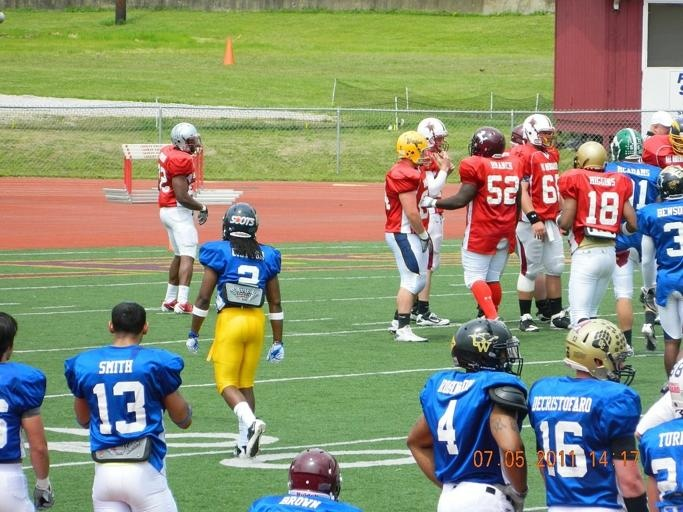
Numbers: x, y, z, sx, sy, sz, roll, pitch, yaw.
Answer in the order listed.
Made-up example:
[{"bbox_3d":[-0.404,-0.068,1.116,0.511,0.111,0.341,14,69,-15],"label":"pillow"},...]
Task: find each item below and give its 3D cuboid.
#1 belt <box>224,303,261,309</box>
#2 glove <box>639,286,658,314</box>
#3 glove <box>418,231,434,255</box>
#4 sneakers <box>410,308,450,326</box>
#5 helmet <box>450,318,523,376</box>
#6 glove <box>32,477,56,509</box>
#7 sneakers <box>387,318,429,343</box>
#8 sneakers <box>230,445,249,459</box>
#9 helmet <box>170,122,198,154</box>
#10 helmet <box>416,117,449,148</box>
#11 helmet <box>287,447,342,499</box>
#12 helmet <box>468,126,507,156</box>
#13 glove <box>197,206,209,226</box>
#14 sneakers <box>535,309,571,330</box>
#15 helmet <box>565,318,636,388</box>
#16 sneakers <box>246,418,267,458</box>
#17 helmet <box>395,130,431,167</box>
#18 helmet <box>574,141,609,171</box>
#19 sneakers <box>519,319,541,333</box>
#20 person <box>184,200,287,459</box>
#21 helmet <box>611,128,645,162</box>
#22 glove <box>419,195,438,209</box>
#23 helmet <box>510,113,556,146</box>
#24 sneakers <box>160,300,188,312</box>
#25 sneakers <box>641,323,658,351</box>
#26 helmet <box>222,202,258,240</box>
[{"bbox_3d":[-0.836,0.401,8.843,0.245,0.034,0.059,3,-5,-9],"label":"belt"},{"bbox_3d":[3.289,0.462,11.490,0.197,0.247,0.583,0,-1,5],"label":"glove"},{"bbox_3d":[0.939,-0.155,12.110,0.103,0.308,0.110,-15,-1,-11],"label":"glove"},{"bbox_3d":[1.048,0.738,13.064,0.439,0.202,0.164,1,1,0],"label":"sneakers"},{"bbox_3d":[0.900,0.568,6.792,0.391,0.311,0.303,2,2,-3],"label":"helmet"},{"bbox_3d":[-1.969,1.549,7.184,0.128,0.213,0.088,4,5,-5],"label":"glove"},{"bbox_3d":[0.696,0.831,12.167,0.507,0.251,0.182,4,5,-7],"label":"sneakers"},{"bbox_3d":[-0.829,1.579,8.793,0.116,0.117,0.086,-18,26,-20],"label":"sneakers"},{"bbox_3d":[-1.938,-1.492,13.627,0.388,0.342,0.286,10,24,10],"label":"helmet"},{"bbox_3d":[1.065,-1.438,12.689,0.396,0.401,0.324,-1,9,6],"label":"helmet"},{"bbox_3d":[-0.151,1.218,6.128,0.216,0.247,0.300,9,-6,8],"label":"helmet"},{"bbox_3d":[1.580,-1.257,11.890,0.379,0.298,0.286,10,15,43],"label":"helmet"},{"bbox_3d":[-1.820,-0.528,13.953,0.147,0.197,0.437,-3,8,5],"label":"glove"},{"bbox_3d":[2.480,0.740,12.804,0.373,0.164,0.126,2,9,26],"label":"sneakers"},{"bbox_3d":[1.603,0.604,6.826,0.432,0.375,0.340,3,5,-15],"label":"helmet"},{"bbox_3d":[-0.692,1.429,8.680,0.144,0.341,0.122,25,29,20],"label":"sneakers"},{"bbox_3d":[0.760,-1.236,12.216,0.369,0.324,0.297,-2,20,-13],"label":"helmet"},{"bbox_3d":[2.471,-0.997,10.899,0.253,0.301,0.321,5,16,1],"label":"helmet"},{"bbox_3d":[2.170,0.801,12.555,0.110,0.113,0.267,1,-4,-19],"label":"sneakers"},{"bbox_3d":[-0.833,0.583,8.970,0.603,1.975,1.112,-4,11,-19],"label":"person"},{"bbox_3d":[3.032,-1.172,11.521,0.336,0.341,0.338,-1,10,-3],"label":"helmet"},{"bbox_3d":[0.943,-0.593,11.978,0.164,0.072,0.157,2,-6,-5],"label":"glove"},{"bbox_3d":[2.246,-1.475,12.795,0.497,0.401,0.384,3,3,29],"label":"helmet"},{"bbox_3d":[-2.061,0.623,13.443,0.351,0.162,0.136,4,5,-8],"label":"sneakers"},{"bbox_3d":[3.263,0.840,11.523,0.129,0.361,0.183,1,29,19],"label":"sneakers"},{"bbox_3d":[-0.857,-0.290,9.066,0.242,0.266,0.322,2,12,-7],"label":"helmet"}]
